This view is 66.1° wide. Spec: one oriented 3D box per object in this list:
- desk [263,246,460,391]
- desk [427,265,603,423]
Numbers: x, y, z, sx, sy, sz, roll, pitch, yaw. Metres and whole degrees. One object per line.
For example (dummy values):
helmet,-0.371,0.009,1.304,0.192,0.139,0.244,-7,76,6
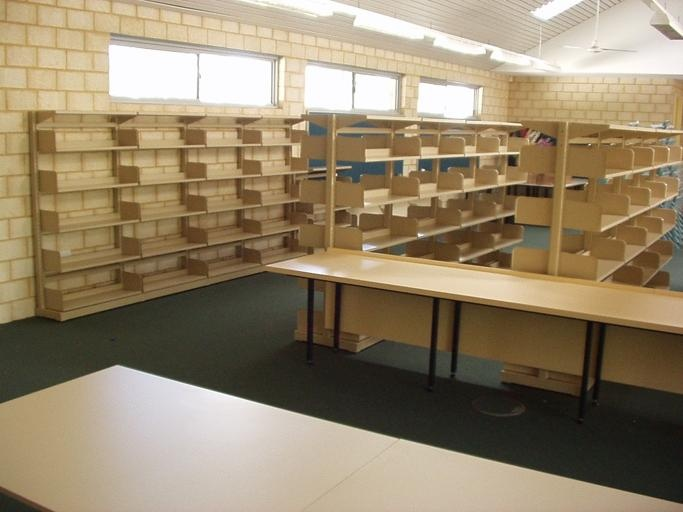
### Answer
desk,0.332,0.551,4.330,1.697,0.759,0.913,6,4,28
desk,1.282,0.580,3.828,1.195,0.688,0.664,5,12,30
